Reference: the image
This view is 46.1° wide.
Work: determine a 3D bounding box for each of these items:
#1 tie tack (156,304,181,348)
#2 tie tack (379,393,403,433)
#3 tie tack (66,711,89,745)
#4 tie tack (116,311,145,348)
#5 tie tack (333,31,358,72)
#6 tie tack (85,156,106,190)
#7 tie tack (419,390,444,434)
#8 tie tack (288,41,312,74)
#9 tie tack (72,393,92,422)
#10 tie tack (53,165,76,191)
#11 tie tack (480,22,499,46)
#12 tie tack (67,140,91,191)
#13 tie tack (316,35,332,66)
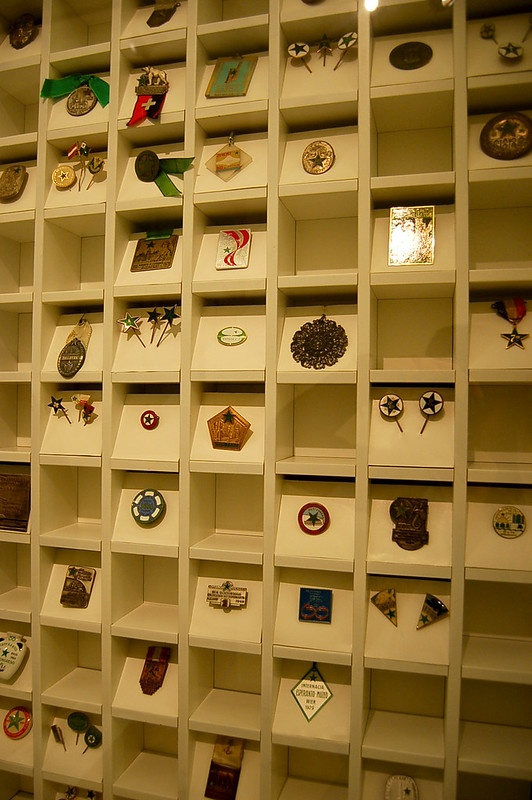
[{"bbox_3d":[-0.354,-0.270,2.258,0.011,0.159,0.072,-1,36,-35],"label":"tie tack"},{"bbox_3d":[0.396,0.039,1.984,0.076,0.079,0.087,1,40,14],"label":"tie tack"},{"bbox_3d":[-0.688,1.191,2.289,0.062,0.117,0.015,1,-6,35],"label":"tie tack"},{"bbox_3d":[-0.496,-0.252,2.276,0.112,0.168,0.022,3,37,1],"label":"tie tack"},{"bbox_3d":[0.255,-1.133,2.006,0.017,0.135,0.070,-3,27,-17],"label":"tie tack"},{"bbox_3d":[-0.631,-0.849,2.301,0.064,0.137,0.039,25,19,20],"label":"tie tack"},{"bbox_3d":[0.513,0.038,1.948,0.074,0.089,0.086,1,39,14],"label":"tie tack"},{"bbox_3d":[0.109,-1.151,2.092,0.078,0.086,0.103,-6,39,5],"label":"tie tack"},{"bbox_3d":[-0.680,0.026,2.324,0.043,0.114,0.080,-11,17,-36],"label":"tie tack"},{"bbox_3d":[-0.756,-0.834,2.342,0.079,0.105,0.020,9,2,30],"label":"tie tack"},{"bbox_3d":[0.676,-1.119,1.901,0.047,0.065,0.020,-2,4,-4],"label":"tie tack"},{"bbox_3d":[-0.695,-0.875,2.333,0.056,0.086,0.179,10,52,-24],"label":"tie tack"},{"bbox_3d":[0.195,-1.168,2.078,0.047,0.072,0.092,-10,39,-1],"label":"tie tack"}]
